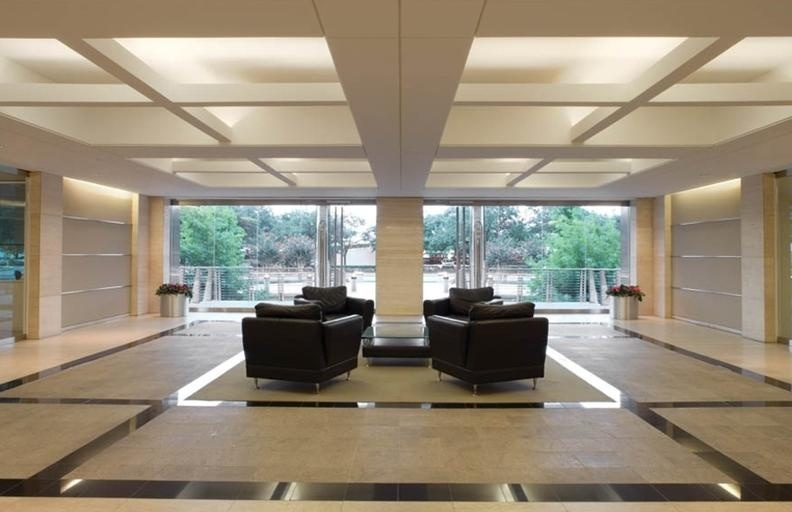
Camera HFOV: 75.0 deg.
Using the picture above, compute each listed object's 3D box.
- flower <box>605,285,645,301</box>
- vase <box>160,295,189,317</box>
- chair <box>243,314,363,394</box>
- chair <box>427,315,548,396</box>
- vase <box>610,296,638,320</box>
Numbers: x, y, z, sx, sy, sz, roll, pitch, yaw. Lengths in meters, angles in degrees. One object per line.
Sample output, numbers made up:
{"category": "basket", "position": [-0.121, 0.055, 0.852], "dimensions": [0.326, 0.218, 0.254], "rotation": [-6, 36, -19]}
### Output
{"category": "flower", "position": [5.589, 0.885, 12.810], "dimensions": [0.654, 0.168, 0.600], "rotation": [-1, 4, -31]}
{"category": "vase", "position": [-5.586, 1.239, 12.913], "dimensions": [0.699, 0.390, 0.608], "rotation": [0, -3, 23]}
{"category": "chair", "position": [-1.398, 1.432, 7.890], "dimensions": [1.823, 0.748, 1.574], "rotation": [0, -3, -7]}
{"category": "chair", "position": [1.357, 1.374, 7.663], "dimensions": [1.420, 0.819, 1.330], "rotation": [1, -2, -26]}
{"category": "vase", "position": [5.667, 1.326, 12.967], "dimensions": [0.728, 0.402, 0.624], "rotation": [0, -6, 3]}
